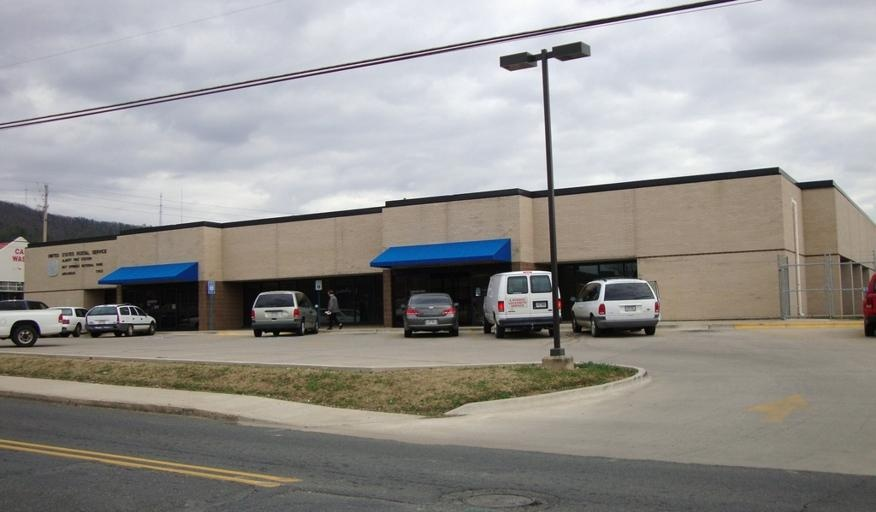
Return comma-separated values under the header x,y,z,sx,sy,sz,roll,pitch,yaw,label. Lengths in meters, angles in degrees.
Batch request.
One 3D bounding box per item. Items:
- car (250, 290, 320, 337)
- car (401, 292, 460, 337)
x,y,z,sx,sy,sz,roll,pitch,yaw,label
-7.838,2.828,38.480,3.449,2.153,3.947,-4,-5,17,car
-0.337,2.653,34.413,2.446,1.438,4.735,0,0,2,car
